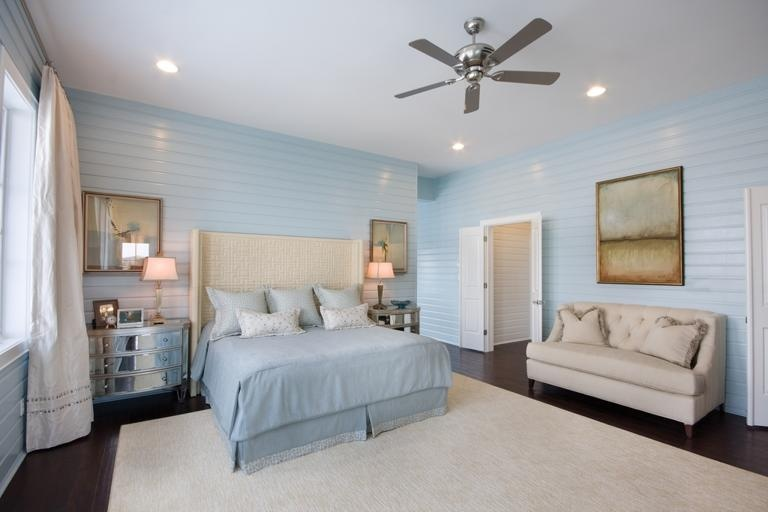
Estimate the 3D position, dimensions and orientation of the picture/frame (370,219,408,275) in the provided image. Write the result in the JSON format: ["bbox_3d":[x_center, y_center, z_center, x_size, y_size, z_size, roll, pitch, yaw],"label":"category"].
[{"bbox_3d":[0.039,-0.155,7.579,0.926,1.029,0.072,4,-6,-38],"label":"picture/frame"}]

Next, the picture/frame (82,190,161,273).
[{"bbox_3d":[-3.256,-0.293,5.702,1.020,1.186,0.079,3,-7,-30],"label":"picture/frame"}]

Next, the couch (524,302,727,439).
[{"bbox_3d":[2.921,1.234,5.834,1.155,1.210,2.021,-3,3,-39],"label":"couch"}]

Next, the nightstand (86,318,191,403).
[{"bbox_3d":[-2.973,1.281,5.599,1.083,0.877,0.573,1,-4,-35],"label":"nightstand"}]

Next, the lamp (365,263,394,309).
[{"bbox_3d":[-0.042,0.490,7.300,0.487,0.654,0.482,1,-6,34],"label":"lamp"}]

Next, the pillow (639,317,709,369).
[{"bbox_3d":[3.299,0.985,5.336,0.655,0.460,0.348,-1,-1,30],"label":"pillow"}]

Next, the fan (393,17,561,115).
[{"bbox_3d":[0.973,-1.864,4.531,0.995,0.404,0.988,-3,-8,20],"label":"fan"}]

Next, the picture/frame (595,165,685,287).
[{"bbox_3d":[3.327,-0.373,6.135,1.034,1.313,0.071,-1,0,44],"label":"picture/frame"}]

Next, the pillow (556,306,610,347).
[{"bbox_3d":[2.593,0.928,6.056,0.434,0.393,0.185,-11,-44,32],"label":"pillow"}]

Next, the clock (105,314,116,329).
[{"bbox_3d":[-3.159,0.749,5.423,0.117,0.155,0.060,0,16,6],"label":"clock"}]

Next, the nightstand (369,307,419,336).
[{"bbox_3d":[0.144,0.959,7.279,0.665,0.596,0.460,2,-3,-38],"label":"nightstand"}]
